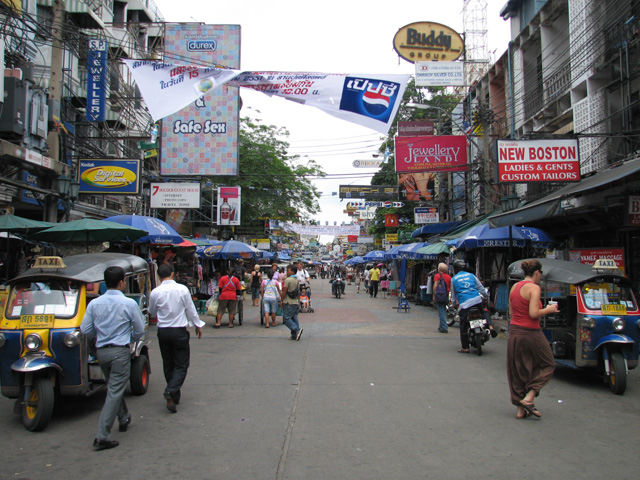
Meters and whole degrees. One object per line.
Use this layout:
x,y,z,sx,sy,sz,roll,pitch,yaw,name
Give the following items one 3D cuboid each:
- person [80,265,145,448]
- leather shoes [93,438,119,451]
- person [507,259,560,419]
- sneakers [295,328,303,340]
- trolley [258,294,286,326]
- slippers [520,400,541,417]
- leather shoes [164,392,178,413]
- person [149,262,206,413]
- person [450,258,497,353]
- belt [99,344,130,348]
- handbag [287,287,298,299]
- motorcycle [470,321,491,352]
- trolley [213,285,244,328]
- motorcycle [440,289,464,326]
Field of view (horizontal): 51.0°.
-2.889,1.609,9.416,0.819,2.381,0.908,-1,3,-21,person
-2.896,2.766,9.013,0.376,0.172,0.128,1,15,-24,leather shoes
3.304,1.539,10.445,0.759,2.420,0.749,6,-5,-34,person
-0.534,2.377,16.968,0.123,0.309,0.102,2,-19,22,sneakers
-1.592,2.303,21.690,0.840,0.959,1.234,2,1,2,trolley
3.154,2.574,10.050,0.169,0.162,0.445,-25,-47,16,slippers
-2.289,2.516,10.351,0.215,0.317,0.147,-1,3,-20,leather shoes
-2.345,1.518,10.694,0.681,2.276,0.775,2,4,33,person
3.441,1.572,15.220,0.708,1.976,1.072,-1,3,-22,person
-2.899,1.513,9.462,0.389,0.082,0.077,-1,3,-18,belt
-0.701,1.404,17.289,0.181,0.226,0.243,2,-9,-37,handbag
3.535,2.145,14.879,0.437,0.760,0.385,1,3,13,motorcycle
-2.776,1.734,20.267,0.620,1.877,0.593,7,-15,-13,trolley
3.872,1.971,19.048,0.830,1.063,1.597,1,-6,0,motorcycle
